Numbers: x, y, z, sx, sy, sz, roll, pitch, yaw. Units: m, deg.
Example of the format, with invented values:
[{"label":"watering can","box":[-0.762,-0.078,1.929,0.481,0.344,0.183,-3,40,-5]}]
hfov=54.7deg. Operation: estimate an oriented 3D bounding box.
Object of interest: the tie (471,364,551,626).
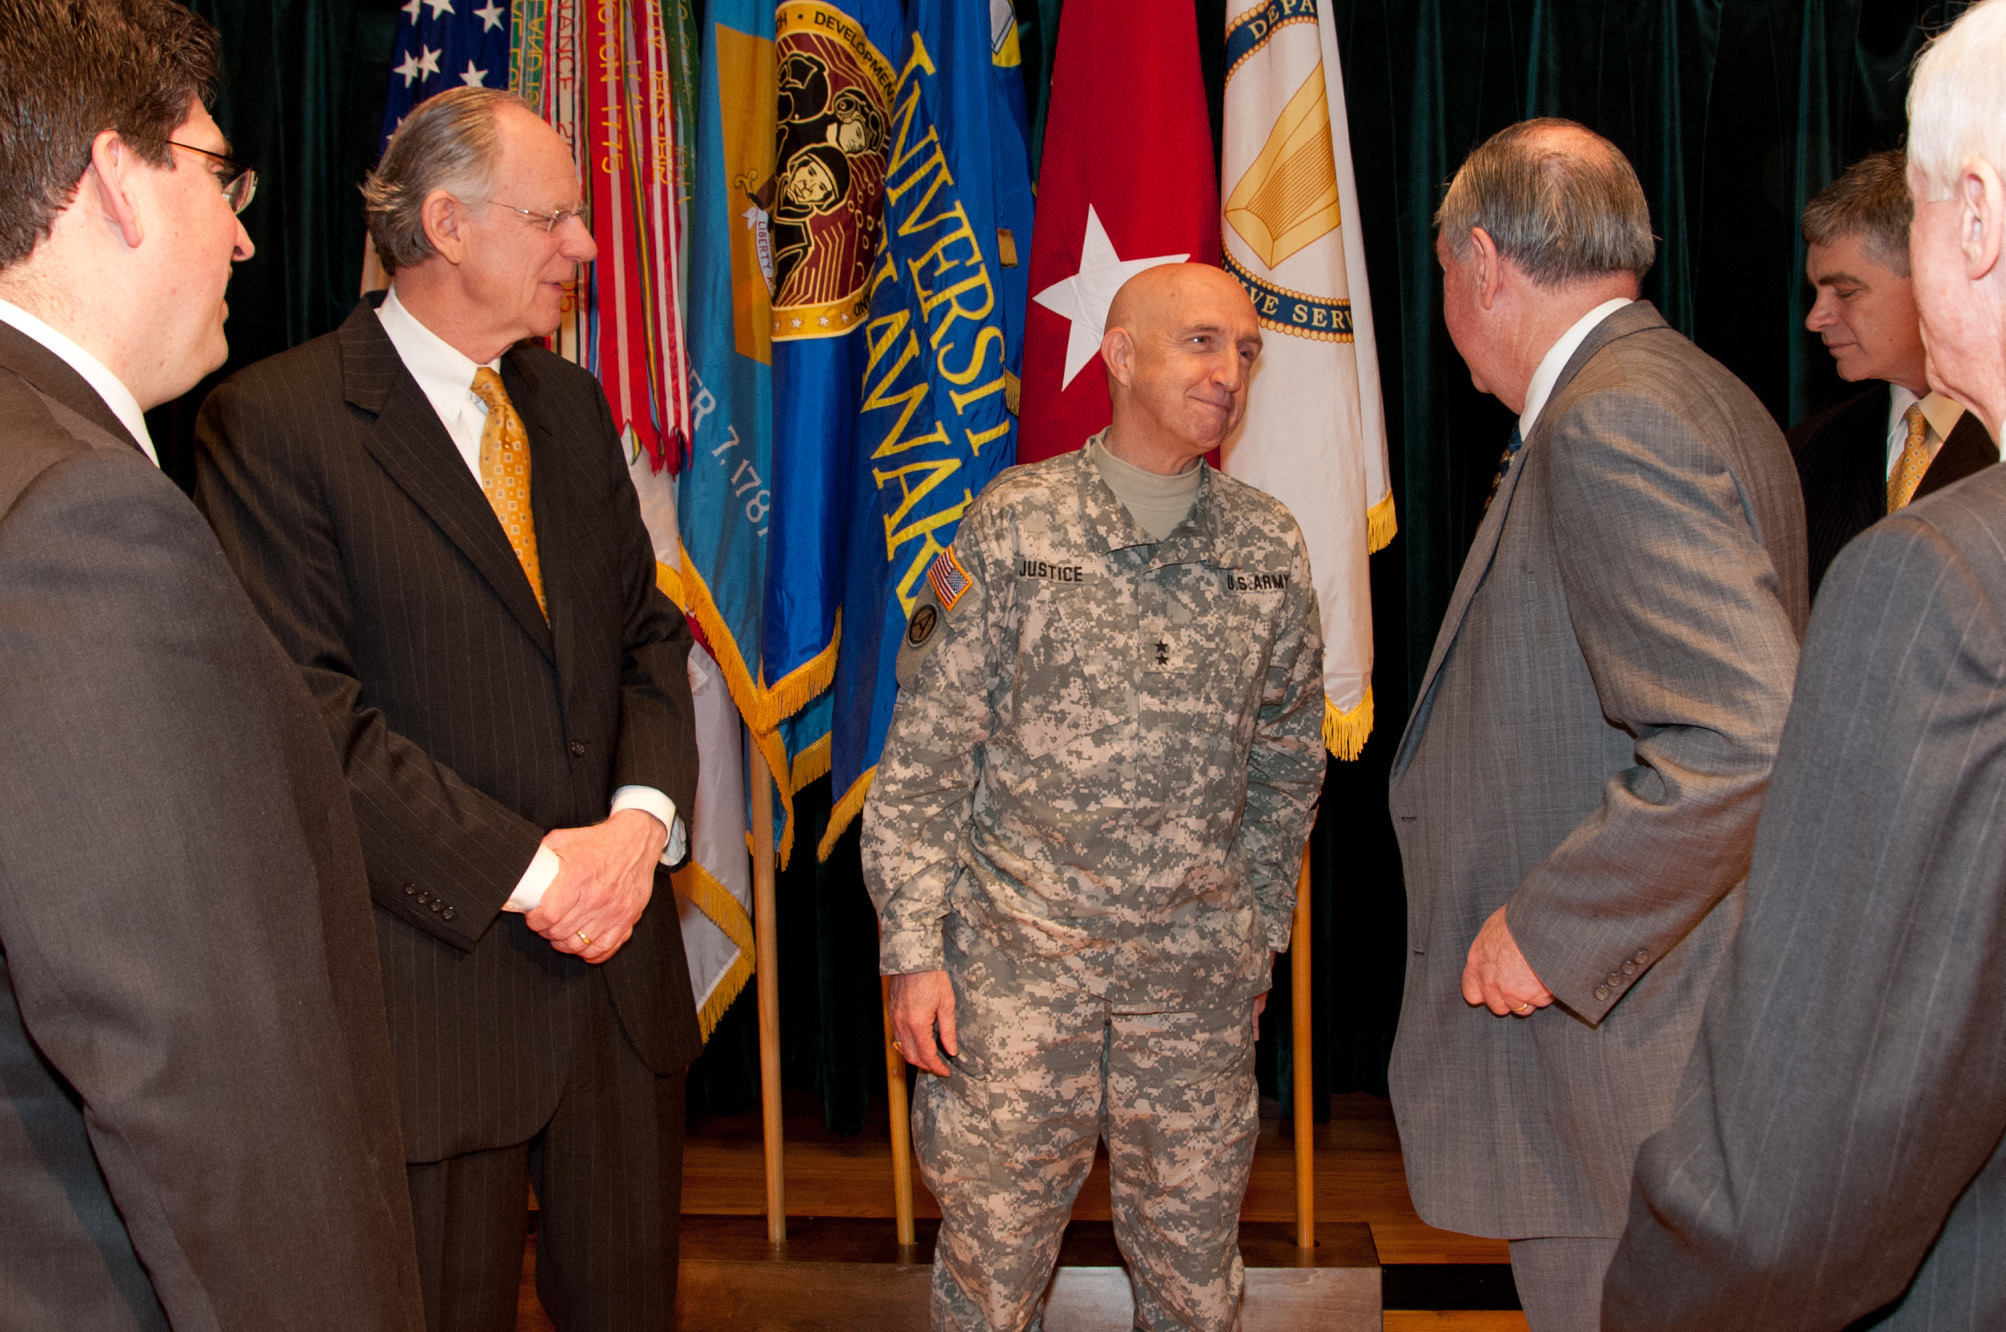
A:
[{"label":"tie","box":[-0.805,-0.279,3.165,0.114,0.426,0.039,0,-12,-34]}]
